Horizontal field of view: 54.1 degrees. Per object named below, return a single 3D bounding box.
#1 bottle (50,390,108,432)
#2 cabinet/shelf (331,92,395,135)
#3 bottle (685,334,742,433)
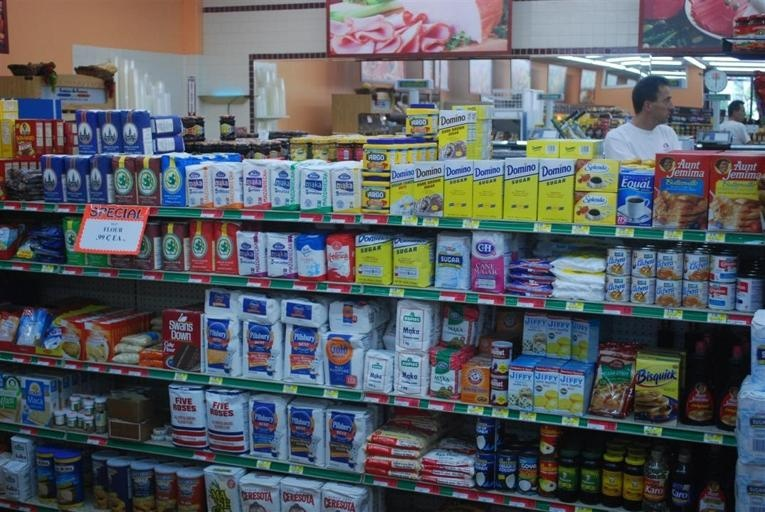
[{"bbox_3d":[-2.399,1.234,5.993,0.298,0.120,0.381,3,0,6],"label":"bottle"},{"bbox_3d":[-0.424,-2.169,11.165,0.606,0.796,0.862,-1,11,-1],"label":"cabinet/shelf"},{"bbox_3d":[2.210,0.785,5.000,0.367,0.552,0.457,2,11,24],"label":"bottle"}]
